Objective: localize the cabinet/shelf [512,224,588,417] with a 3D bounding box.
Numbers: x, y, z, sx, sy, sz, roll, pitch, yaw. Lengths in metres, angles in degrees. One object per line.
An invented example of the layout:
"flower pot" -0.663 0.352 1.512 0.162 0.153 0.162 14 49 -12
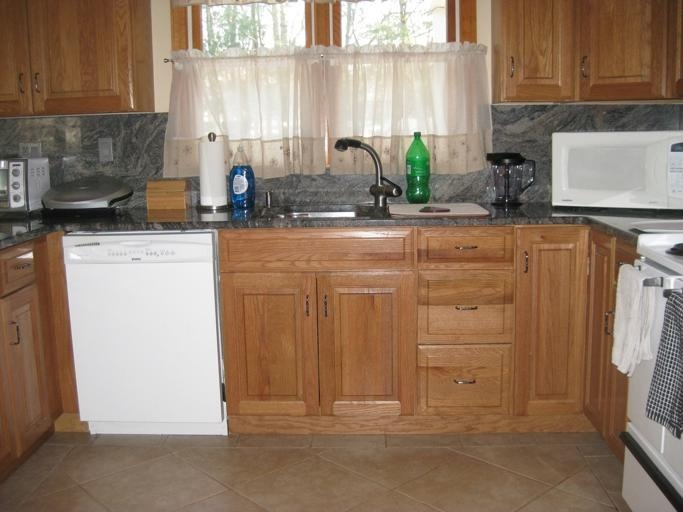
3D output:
"cabinet/shelf" 1.049 0.325 2.861 0.352 0.962 0.182 -1 16 11

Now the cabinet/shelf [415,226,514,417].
"cabinet/shelf" 0.624 0.330 2.870 0.468 0.940 0.195 -1 16 11

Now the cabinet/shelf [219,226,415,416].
"cabinet/shelf" -0.124 0.281 2.870 1.067 0.890 0.501 0 6 0

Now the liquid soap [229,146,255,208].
"liquid soap" -0.579 -0.450 3.260 0.160 0.348 0.234 -6 15 -8

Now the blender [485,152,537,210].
"blender" 0.937 -0.431 3.174 0.373 0.326 0.284 4 12 16

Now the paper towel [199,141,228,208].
"paper towel" -0.720 -0.447 3.159 0.157 0.368 0.084 -7 16 -14

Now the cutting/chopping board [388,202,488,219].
"cutting/chopping board" 0.502 -0.253 3.036 0.504 0.028 0.495 -2 14 3

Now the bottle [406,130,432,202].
"bottle" 0.422 -0.487 3.191 0.133 0.401 0.093 -2 15 5

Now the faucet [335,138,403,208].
"faucet" 0.138 -0.460 3.085 0.316 0.356 0.448 -3 14 2
